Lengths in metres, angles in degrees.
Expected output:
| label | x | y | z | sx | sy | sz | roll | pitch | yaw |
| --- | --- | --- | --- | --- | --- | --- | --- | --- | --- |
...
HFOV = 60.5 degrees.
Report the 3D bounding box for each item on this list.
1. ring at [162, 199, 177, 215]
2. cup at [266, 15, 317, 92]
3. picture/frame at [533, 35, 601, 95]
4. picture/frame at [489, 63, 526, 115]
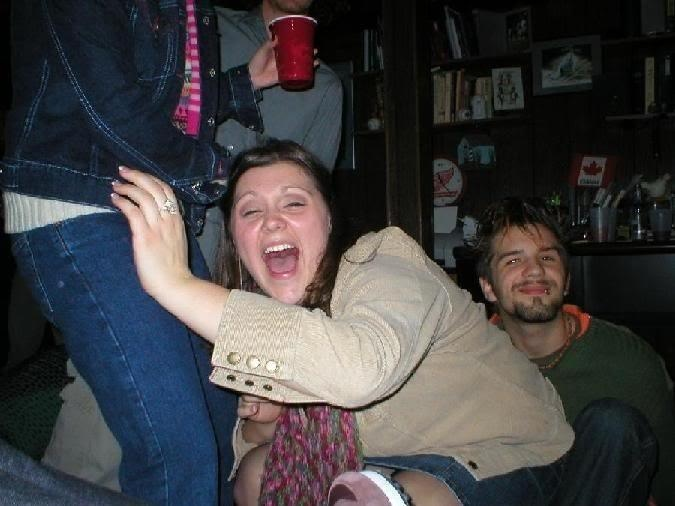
| label | x | y | z | sx | sy | sz | roll | pitch | yaw |
| --- | --- | --- | --- | --- | --- | --- | --- | --- | --- |
| ring | -0.439 | -0.124 | 1.532 | 0.033 | 0.038 | 0.047 | 1 | 8 | 5 |
| cup | -0.146 | -0.733 | 2.120 | 0.205 | 0.242 | 0.208 | -1 | 11 | 0 |
| picture/frame | 1.685 | -1.376 | 4.201 | 0.418 | 0.395 | 0.017 | 0 | 6 | 24 |
| picture/frame | 1.246 | -1.210 | 4.253 | 0.204 | 0.313 | 0.027 | -2 | -6 | 5 |
